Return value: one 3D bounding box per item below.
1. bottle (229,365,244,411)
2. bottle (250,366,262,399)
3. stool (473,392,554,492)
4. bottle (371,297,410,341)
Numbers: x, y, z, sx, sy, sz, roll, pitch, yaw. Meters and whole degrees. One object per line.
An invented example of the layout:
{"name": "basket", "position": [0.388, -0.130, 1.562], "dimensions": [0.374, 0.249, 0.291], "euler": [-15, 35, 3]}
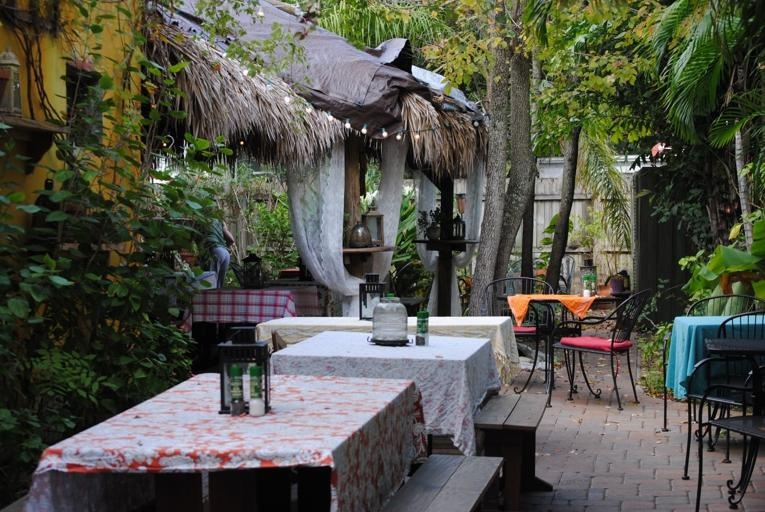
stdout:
{"name": "bottle", "position": [-0.779, 0.710, 3.671], "dimensions": [0.072, 0.266, 0.098], "euler": [-2, 0, -13]}
{"name": "bottle", "position": [-0.676, 0.664, 3.667], "dimensions": [0.060, 0.179, 0.079], "euler": [-2, 0, -11]}
{"name": "stool", "position": [0.986, 1.328, 5.157], "dimensions": [0.582, 0.606, 1.201], "euler": [-1, 1, 11]}
{"name": "bottle", "position": [0.064, 0.496, 5.359], "dimensions": [0.370, 0.323, 0.379], "euler": [1, 0, 44]}
